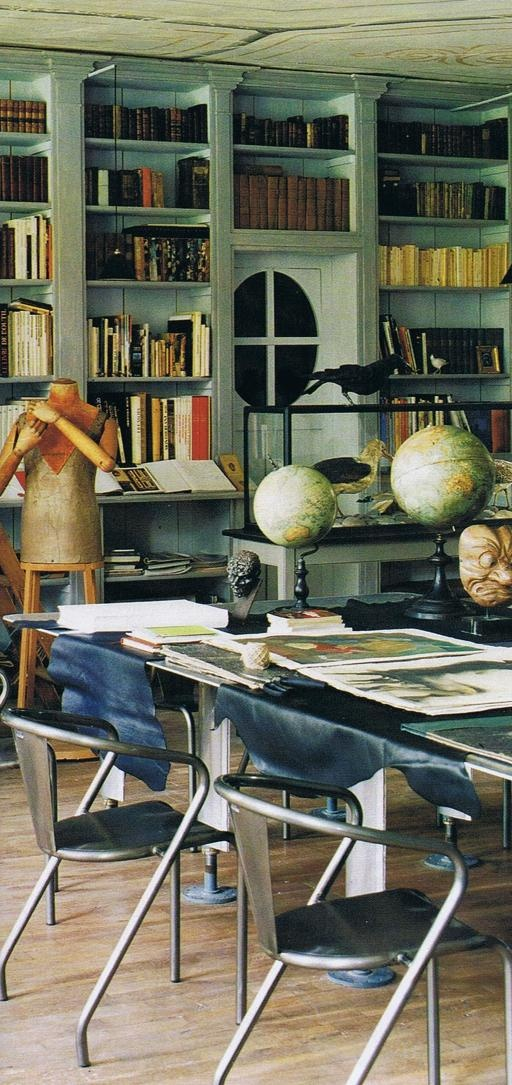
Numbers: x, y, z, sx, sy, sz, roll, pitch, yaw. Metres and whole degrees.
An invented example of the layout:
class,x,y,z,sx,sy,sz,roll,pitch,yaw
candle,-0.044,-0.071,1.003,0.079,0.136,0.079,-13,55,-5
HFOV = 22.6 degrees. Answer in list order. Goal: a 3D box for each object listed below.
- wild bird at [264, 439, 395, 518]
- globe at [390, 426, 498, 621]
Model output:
class,x,y,z,sx,sy,sz,roll,pitch,yaw
wild bird,0.330,-0.302,5.630,0.460,0.345,0.379,6,5,37
globe,0.493,-0.085,3.446,0.221,0.558,0.244,-4,8,-38
